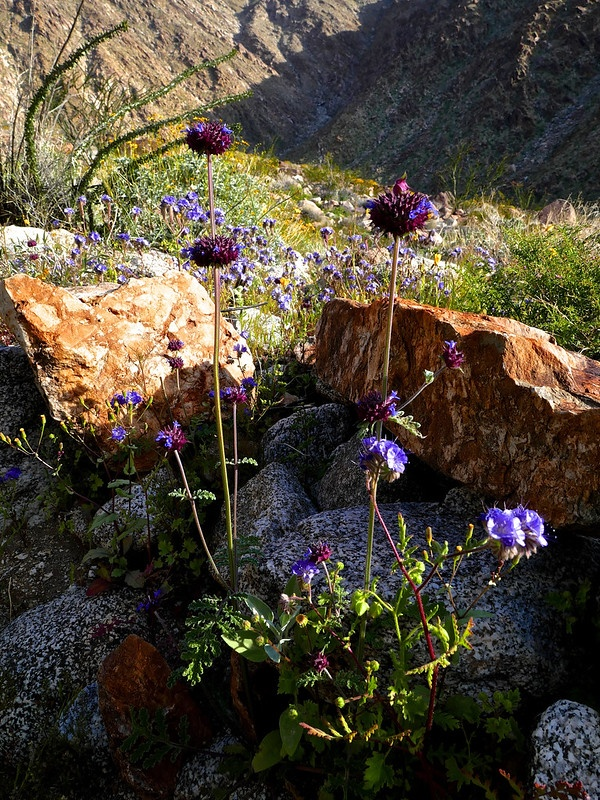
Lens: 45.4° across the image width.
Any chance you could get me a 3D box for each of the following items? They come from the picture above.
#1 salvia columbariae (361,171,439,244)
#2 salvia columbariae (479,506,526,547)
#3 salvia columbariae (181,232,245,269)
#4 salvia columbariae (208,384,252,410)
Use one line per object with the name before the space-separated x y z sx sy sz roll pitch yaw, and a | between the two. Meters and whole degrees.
salvia columbariae | 0.281 -0.552 2.049 0.191 0.190 0.132 2 17 23
salvia columbariae | 0.551 0.346 1.937 0.107 0.089 0.105 1 17 14
salvia columbariae | -0.278 -0.475 2.334 0.148 0.113 0.216 3 18 21
salvia columbariae | -0.264 -0.041 2.920 0.155 0.105 0.158 5 10 44
